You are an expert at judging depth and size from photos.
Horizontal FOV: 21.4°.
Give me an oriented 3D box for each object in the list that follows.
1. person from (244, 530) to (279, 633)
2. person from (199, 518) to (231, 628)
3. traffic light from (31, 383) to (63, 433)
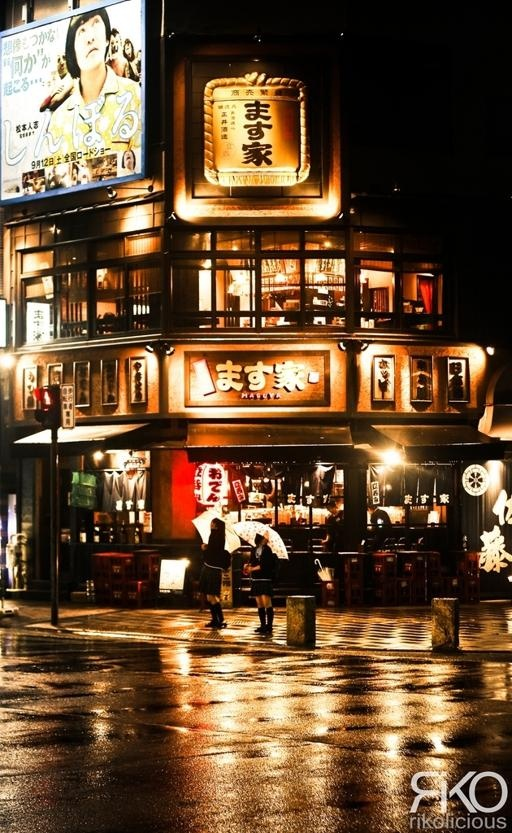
[{"bbox_3d":[0.095,2.669,21.708,0.390,1.510,1.139,0,-3,0],"label":"person"},{"bbox_3d":[-0.687,2.584,22.419,0.439,1.788,0.979,0,-3,-2],"label":"person"},{"bbox_3d":[-3.599,-0.131,23.435,0.578,1.242,0.640,0,-5,-4],"label":"traffic light"}]
